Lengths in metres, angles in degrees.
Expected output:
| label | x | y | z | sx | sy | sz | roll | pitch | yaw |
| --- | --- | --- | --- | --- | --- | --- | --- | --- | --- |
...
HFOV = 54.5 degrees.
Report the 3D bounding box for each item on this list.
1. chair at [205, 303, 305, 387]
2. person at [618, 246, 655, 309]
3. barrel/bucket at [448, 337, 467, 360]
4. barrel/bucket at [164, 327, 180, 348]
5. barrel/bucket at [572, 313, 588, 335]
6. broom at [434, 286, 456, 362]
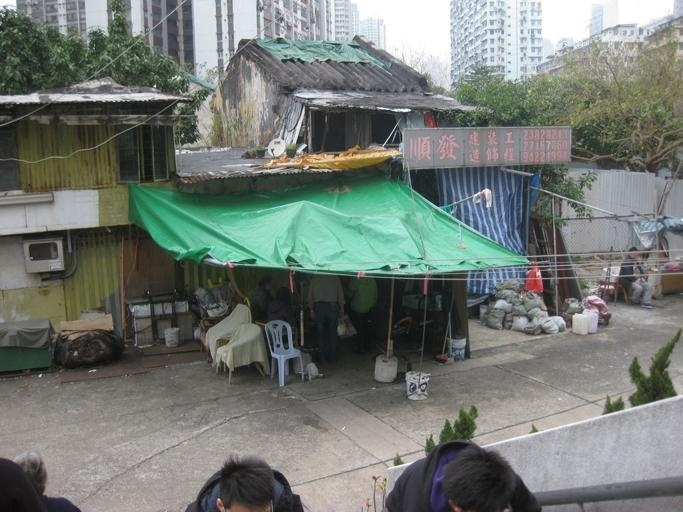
| label | x | y | z | sx | sy | sz | roll | pitch | yaw |
| --- | --- | --- | --- | --- | --- | --- | --- | --- | --- |
| chair | -1.706 | 1.731 | 13.550 | 1.795 | 1.388 | 1.283 | -4 | 8 | -36 |
| person | 8.485 | 0.728 | 19.107 | 0.897 | 1.362 | 1.236 | -1 | 5 | 25 |
| barrel/bucket | 2.488 | 1.978 | 14.281 | 0.406 | 0.518 | 0.407 | -1 | 2 | 0 |
| barrel/bucket | -3.782 | 1.807 | 14.616 | 0.297 | 0.399 | 0.394 | 0 | -4 | 25 |
| barrel/bucket | 5.776 | 1.645 | 16.025 | 0.450 | 0.580 | 0.294 | -3 | 5 | -26 |
| broom | 2.228 | 1.440 | 14.302 | 0.407 | 1.512 | 0.745 | -2 | 5 | 11 |
